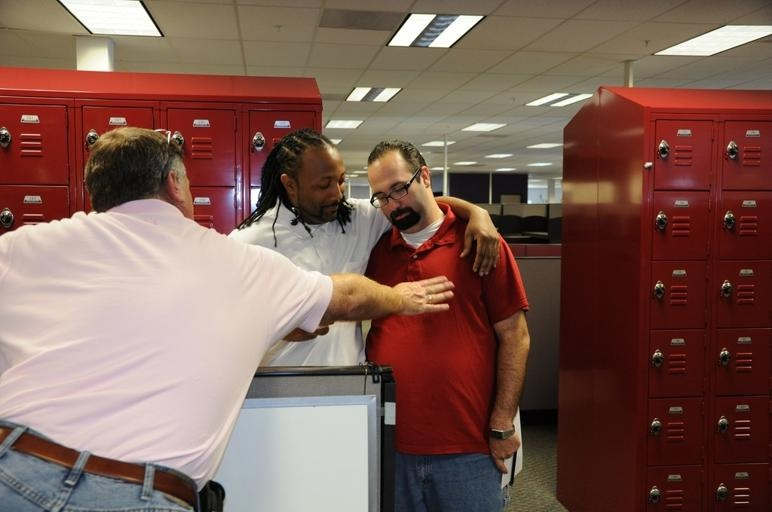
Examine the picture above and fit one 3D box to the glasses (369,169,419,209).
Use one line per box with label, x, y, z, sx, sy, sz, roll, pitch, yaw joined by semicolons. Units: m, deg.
glasses;0.038;-0.326;2.645;0.173;0.051;0.176;-25;19;47
